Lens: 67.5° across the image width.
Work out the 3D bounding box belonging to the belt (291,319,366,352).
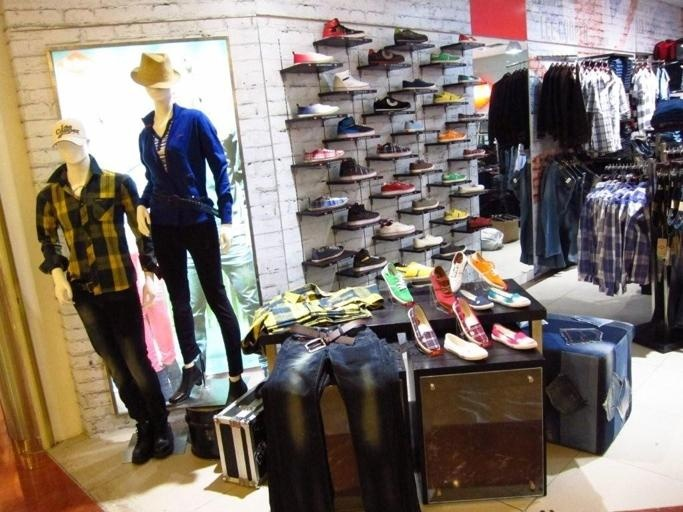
[{"bbox_3d":[-0.079,0.466,2.980,0.260,0.081,0.209,-14,18,-3],"label":"belt"}]

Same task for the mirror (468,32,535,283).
[{"bbox_3d":[1.703,-1.166,5.525,0.258,2.757,2.505,4,12,28],"label":"mirror"}]

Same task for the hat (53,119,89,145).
[{"bbox_3d":[-1.743,-0.784,3.260,0.191,0.165,0.111,-11,11,-27],"label":"hat"}]

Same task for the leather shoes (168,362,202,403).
[{"bbox_3d":[-1.097,0.883,3.567,0.115,0.165,0.354,2,20,23],"label":"leather shoes"}]

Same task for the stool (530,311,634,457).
[{"bbox_3d":[1.519,0.795,3.414,0.688,0.753,0.778,3,7,6],"label":"stool"}]

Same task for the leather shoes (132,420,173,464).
[{"bbox_3d":[-1.332,1.318,3.626,0.205,0.134,0.326,-1,-2,-11],"label":"leather shoes"}]

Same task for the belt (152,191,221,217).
[{"bbox_3d":[-1.038,-0.354,3.371,0.245,0.064,0.220,13,3,26],"label":"belt"}]

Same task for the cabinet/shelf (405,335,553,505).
[{"bbox_3d":[0.789,0.967,3.203,0.834,0.787,0.826,-2,0,3],"label":"cabinet/shelf"}]

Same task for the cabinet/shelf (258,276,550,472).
[{"bbox_3d":[0.640,0.761,3.441,1.208,0.514,0.734,-5,25,-3],"label":"cabinet/shelf"}]
